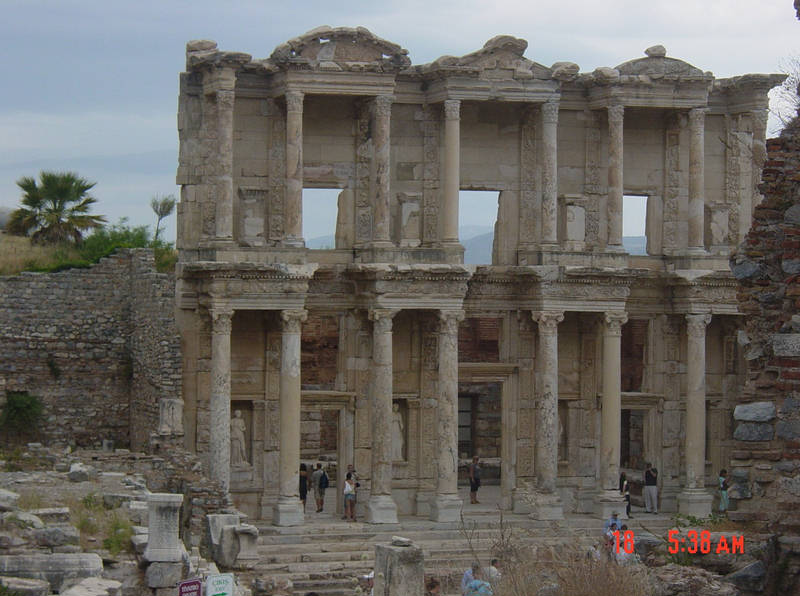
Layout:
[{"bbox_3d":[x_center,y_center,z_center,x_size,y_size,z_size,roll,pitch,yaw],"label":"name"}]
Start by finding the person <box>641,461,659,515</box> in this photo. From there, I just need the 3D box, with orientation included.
[{"bbox_3d":[6.183,4.584,49.438,0.353,1.228,0.841,-1,-5,6],"label":"person"}]

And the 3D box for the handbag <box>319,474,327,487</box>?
[{"bbox_3d":[-1.839,4.328,48.446,0.165,0.353,0.274,-1,-5,3],"label":"handbag"}]

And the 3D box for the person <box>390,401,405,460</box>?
[{"bbox_3d":[-0.039,3.201,48.923,0.238,1.416,0.411,-3,-5,24],"label":"person"}]

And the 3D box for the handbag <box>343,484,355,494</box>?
[{"bbox_3d":[-1.179,4.436,47.417,0.259,0.274,0.194,-1,-5,-2],"label":"handbag"}]

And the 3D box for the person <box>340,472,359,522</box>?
[{"bbox_3d":[-1.192,4.592,47.542,0.288,1.142,0.628,-1,-5,-2],"label":"person"}]

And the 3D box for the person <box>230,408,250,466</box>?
[{"bbox_3d":[-3.821,3.286,48.202,0.415,1.318,0.440,0,-5,-5],"label":"person"}]
